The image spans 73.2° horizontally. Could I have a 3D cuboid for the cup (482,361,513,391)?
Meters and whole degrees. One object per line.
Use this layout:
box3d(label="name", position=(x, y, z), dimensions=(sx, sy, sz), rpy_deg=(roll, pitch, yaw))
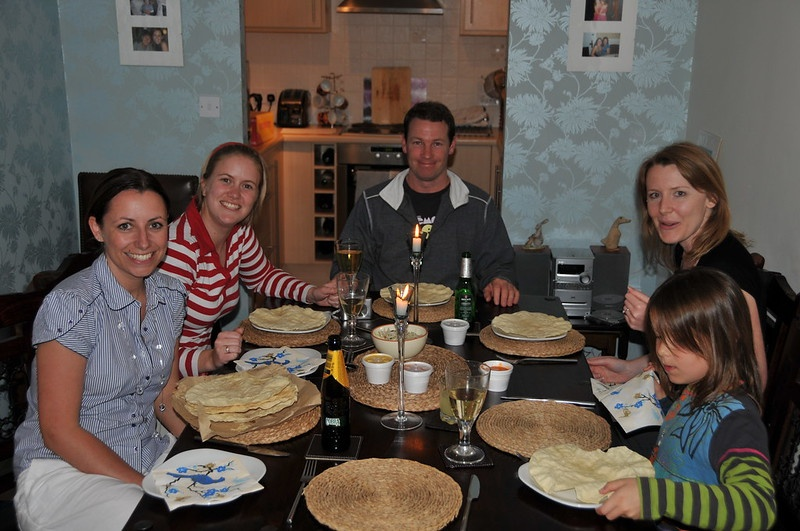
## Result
box3d(label="cup", position=(0.311, 0.352, 1.727), dimensions=(0.116, 0.089, 0.119), rpy_deg=(0, 9, 0))

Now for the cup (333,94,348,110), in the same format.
box3d(label="cup", position=(-0.625, -1.715, 5.631), dimensions=(0.130, 0.132, 0.141), rpy_deg=(19, 20, -7))

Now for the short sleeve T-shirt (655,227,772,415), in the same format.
box3d(label="short sleeve T-shirt", position=(1.148, 0.182, 2.098), dimensions=(0.311, 0.537, 0.607), rpy_deg=(-1, 7, 9))

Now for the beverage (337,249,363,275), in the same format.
box3d(label="beverage", position=(-0.196, -0.020, 2.175), dimensions=(0.093, 0.153, 0.101), rpy_deg=(0, 8, 1))

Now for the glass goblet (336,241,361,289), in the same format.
box3d(label="glass goblet", position=(-0.207, -0.020, 2.201), dimensions=(0.109, 0.177, 0.114), rpy_deg=(-1, -4, 27))

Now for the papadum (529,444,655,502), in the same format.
box3d(label="papadum", position=(0.459, 0.506, 1.334), dimensions=(0.156, 0.028, 0.159), rpy_deg=(0, 17, 1))

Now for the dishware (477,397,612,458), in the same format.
box3d(label="dishware", position=(0.405, 0.456, 1.573), dimensions=(0.399, 0.010, 0.405), rpy_deg=(-5, 5, -33))

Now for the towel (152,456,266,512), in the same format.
box3d(label="towel", position=(-0.478, 0.520, 1.331), dimensions=(0.284, 0.033, 0.194), rpy_deg=(-4, 13, -8))

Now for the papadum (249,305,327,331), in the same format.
box3d(label="papadum", position=(-0.440, 0.208, 2.092), dimensions=(0.145, 0.026, 0.143), rpy_deg=(6, 13, 15))

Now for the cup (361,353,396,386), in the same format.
box3d(label="cup", position=(-0.069, 0.327, 1.699), dimensions=(0.091, 0.069, 0.093), rpy_deg=(1, 7, 0))

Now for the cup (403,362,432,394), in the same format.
box3d(label="cup", position=(0.053, 0.346, 1.655), dimensions=(0.086, 0.066, 0.087), rpy_deg=(1, 9, 0))

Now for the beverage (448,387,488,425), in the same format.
box3d(label="beverage", position=(0.174, 0.365, 1.407), dimensions=(0.094, 0.158, 0.100), rpy_deg=(0, 1, 2))

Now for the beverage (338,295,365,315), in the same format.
box3d(label="beverage", position=(-0.179, 0.145, 1.972), dimensions=(0.097, 0.074, 0.093), rpy_deg=(0, 4, 1))

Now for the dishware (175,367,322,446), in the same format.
box3d(label="dishware", position=(-0.429, 0.409, 1.540), dimensions=(0.234, 0.059, 0.242), rpy_deg=(1, 13, -22))

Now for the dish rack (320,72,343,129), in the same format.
box3d(label="dish rack", position=(-0.694, -1.760, 5.649), dimensions=(0.279, 0.490, 0.292), rpy_deg=(11, 27, 22))

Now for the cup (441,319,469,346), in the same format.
box3d(label="cup", position=(0.201, 0.241, 1.987), dimensions=(0.089, 0.071, 0.091), rpy_deg=(1, 4, 0))
